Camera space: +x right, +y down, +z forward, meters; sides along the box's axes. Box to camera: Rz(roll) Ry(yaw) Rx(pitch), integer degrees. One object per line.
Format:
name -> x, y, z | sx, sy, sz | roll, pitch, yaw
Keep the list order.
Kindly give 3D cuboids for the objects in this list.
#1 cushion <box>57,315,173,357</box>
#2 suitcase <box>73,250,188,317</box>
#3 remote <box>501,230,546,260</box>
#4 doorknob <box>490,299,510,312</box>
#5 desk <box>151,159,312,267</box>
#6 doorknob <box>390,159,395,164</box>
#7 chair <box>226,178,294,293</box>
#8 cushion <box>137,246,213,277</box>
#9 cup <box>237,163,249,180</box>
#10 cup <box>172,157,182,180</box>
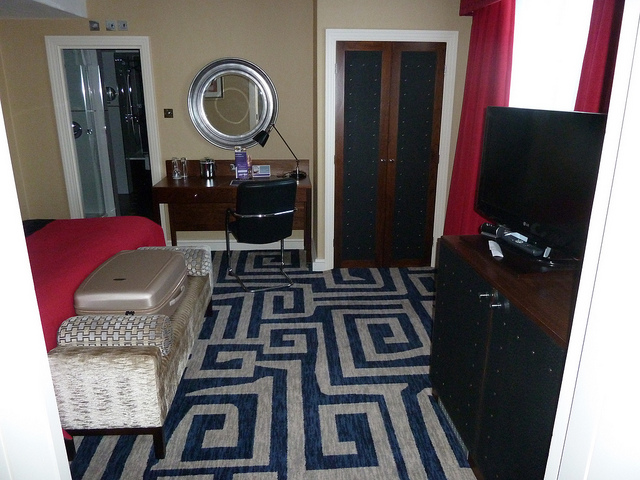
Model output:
cushion -> -1.070, 0.528, 2.422 | 0.237, 0.281, 0.578 | -27, -21, 22
suitcase -> -1.105, 0.283, 2.738 | 0.489, 0.273, 0.739 | 0, 19, -1
remote -> 0.973, 0.020, 2.177 | 0.074, 0.031, 0.150 | -14, 31, -17
doorknob -> 0.759, 0.273, 1.904 | 0.038, 0.058, 0.058 | 1, -12, 2
desk -> -0.859, -0.249, 4.706 | 1.567, 1.218, 0.632 | -3, 16, -6
doorknob -> 0.682, -0.745, 4.248 | 0.035, 0.028, 0.021 | -1, 32, 4
chair -> -0.515, -0.105, 3.864 | 0.515, 0.984, 0.597 | 9, 13, 24
cushion -> -0.984, 0.136, 3.218 | 0.335, 0.116, 0.267 | 2, 15, -4
cup -> -0.810, -0.720, 4.688 | 0.144, 0.215, 0.111 | -1, 16, -5
cup -> -1.502, -0.756, 4.708 | 0.094, 0.186, 0.221 | -5, 19, -13
